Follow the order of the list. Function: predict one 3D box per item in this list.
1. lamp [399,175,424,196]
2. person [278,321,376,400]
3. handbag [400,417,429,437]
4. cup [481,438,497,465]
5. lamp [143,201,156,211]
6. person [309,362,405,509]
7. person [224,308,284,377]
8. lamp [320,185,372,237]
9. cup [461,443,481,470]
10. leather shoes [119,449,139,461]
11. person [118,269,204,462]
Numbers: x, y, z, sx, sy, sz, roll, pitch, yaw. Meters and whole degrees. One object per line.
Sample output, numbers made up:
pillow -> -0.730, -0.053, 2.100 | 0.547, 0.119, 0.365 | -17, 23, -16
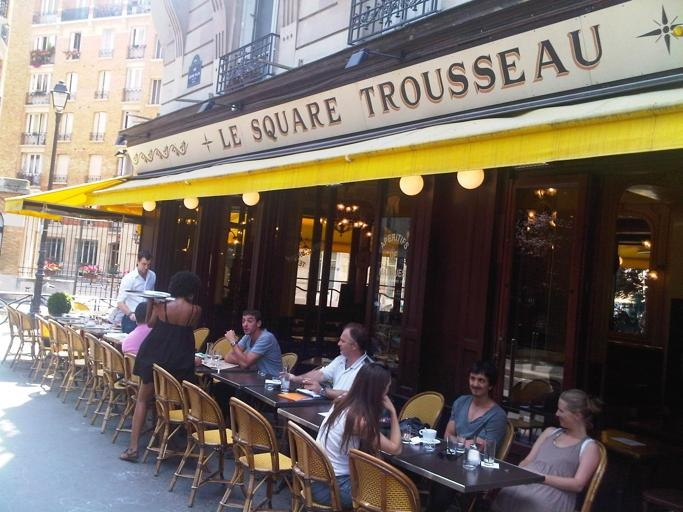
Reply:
lamp -> 0.850, -0.836, 6.723 | 0.232, 0.236, 0.897 | 1, 4, 10
person -> -0.193, 1.108, 6.087 | 0.807, 1.373, 0.800 | 8, 0, -8
handbag -> 0.619, 1.492, 4.939 | 0.211, 0.077, 0.157 | 3, -3, -25
cup -> 1.198, 1.568, 4.593 | 0.105, 0.230, 0.380 | 1, 4, 14
lamp -> -4.074, -1.062, 11.929 | 0.358, 0.226, 0.361 | -3, 4, -14
person -> 0.119, 1.385, 4.323 | 0.701, 1.143, 0.475 | 0, 4, -3
person -> -1.097, 1.253, 7.191 | 0.736, 1.109, 0.654 | -2, -3, -14
lamp -> 0.258, -0.937, 13.119 | 0.851, 1.062, 1.602 | 1, 4, 7
cup -> 1.015, 1.574, 4.432 | 0.121, 0.164, 0.166 | 1, -10, 0
leather shoes -> -2.403, 2.251, 6.364 | 0.201, 0.095, 0.088 | 6, -4, -13
person -> -2.084, 1.246, 6.575 | 0.659, 2.160, 0.678 | 11, -17, -25
